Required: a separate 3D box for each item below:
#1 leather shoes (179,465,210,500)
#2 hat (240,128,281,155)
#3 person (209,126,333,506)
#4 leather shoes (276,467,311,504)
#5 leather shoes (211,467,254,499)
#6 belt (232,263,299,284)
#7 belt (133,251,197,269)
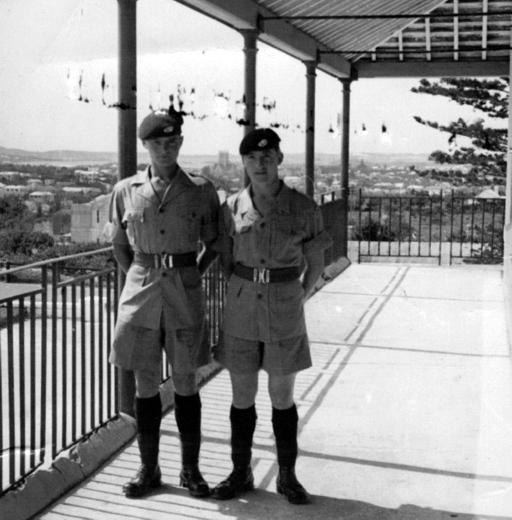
[{"bbox_3d":[-0.264,0.931,2.805,0.058,0.114,0.178,2,-2,-29],"label":"leather shoes"},{"bbox_3d":[0.016,-0.483,2.758,0.176,0.117,0.170,1,6,-5],"label":"hat"},{"bbox_3d":[0.069,0.224,2.832,0.465,1.533,0.282,1,4,5],"label":"person"},{"bbox_3d":[0.150,0.933,2.850,0.062,0.182,0.199,-5,6,-31],"label":"leather shoes"},{"bbox_3d":[-0.091,0.939,2.811,0.072,0.192,0.209,-8,-15,39],"label":"leather shoes"},{"bbox_3d":[0.036,0.053,2.810,0.288,0.074,0.173,2,6,0],"label":"belt"},{"bbox_3d":[-0.387,-0.002,2.825,0.261,0.068,0.130,0,6,-13],"label":"belt"}]
